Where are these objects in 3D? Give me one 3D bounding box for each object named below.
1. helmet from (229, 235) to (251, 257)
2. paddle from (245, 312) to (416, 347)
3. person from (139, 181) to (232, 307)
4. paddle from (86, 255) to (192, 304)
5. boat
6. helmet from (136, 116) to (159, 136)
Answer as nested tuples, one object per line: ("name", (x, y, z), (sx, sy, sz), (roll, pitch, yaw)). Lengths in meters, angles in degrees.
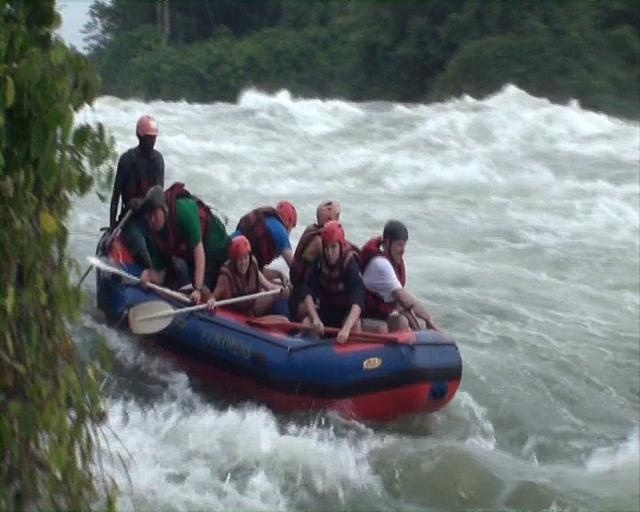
("helmet", (-0.722, -0.095, 7.329), (0.147, 0.201, 0.194), (-12, 14, -42))
("paddle", (0.113, 0.651, 7.161), (0.950, 0.144, 0.079), (9, 55, 21))
("person", (-1.074, -0.187, 7.960), (1.020, 1.187, 0.796), (6, 4, 6))
("paddle", (-1.624, 0.202, 7.541), (0.709, 0.107, 0.111), (27, 35, 15))
("boat", (-0.372, 0.511, 7.275), (2.660, 0.842, 1.359), (16, 10, 24))
("helmet", (-1.596, -1.226, 7.581), (0.143, 0.179, 0.201), (-5, 29, -21))
